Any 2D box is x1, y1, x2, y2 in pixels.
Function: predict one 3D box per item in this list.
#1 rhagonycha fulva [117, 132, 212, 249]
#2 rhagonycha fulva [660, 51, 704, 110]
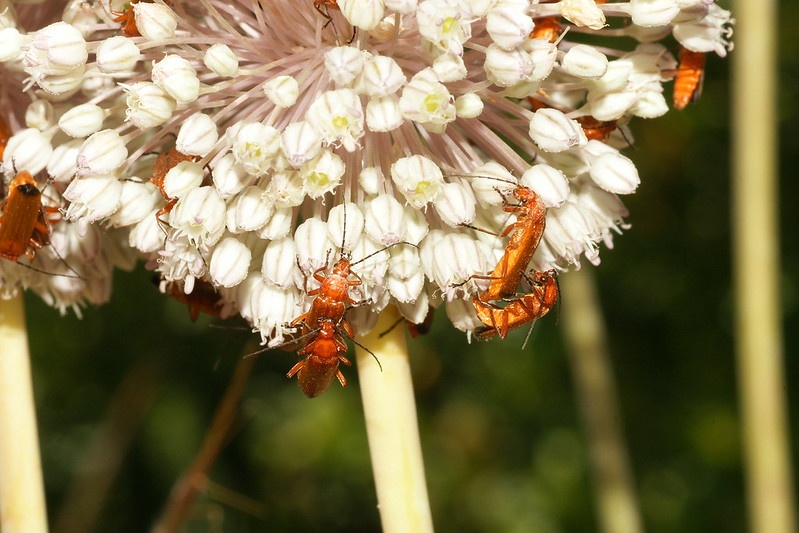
[{"bbox_3d":[-0.906,-0.317,2.846,0.243,0.101,0.328,12,-86,12],"label":"rhagonycha fulva"},{"bbox_3d":[1.194,-0.775,3.202,0.152,0.093,0.280,15,-100,-13],"label":"rhagonycha fulva"}]
